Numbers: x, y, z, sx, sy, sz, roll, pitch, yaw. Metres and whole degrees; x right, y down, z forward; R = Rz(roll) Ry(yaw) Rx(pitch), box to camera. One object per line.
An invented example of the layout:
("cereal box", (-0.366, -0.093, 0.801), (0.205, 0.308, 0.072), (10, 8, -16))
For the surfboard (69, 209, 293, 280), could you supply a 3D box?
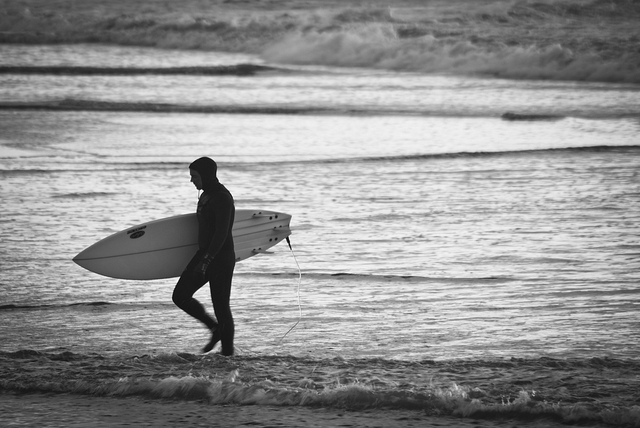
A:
("surfboard", (-3.718, 0.781, 36.268), (7.953, 1.445, 1.144), (-6, 5, -4))
